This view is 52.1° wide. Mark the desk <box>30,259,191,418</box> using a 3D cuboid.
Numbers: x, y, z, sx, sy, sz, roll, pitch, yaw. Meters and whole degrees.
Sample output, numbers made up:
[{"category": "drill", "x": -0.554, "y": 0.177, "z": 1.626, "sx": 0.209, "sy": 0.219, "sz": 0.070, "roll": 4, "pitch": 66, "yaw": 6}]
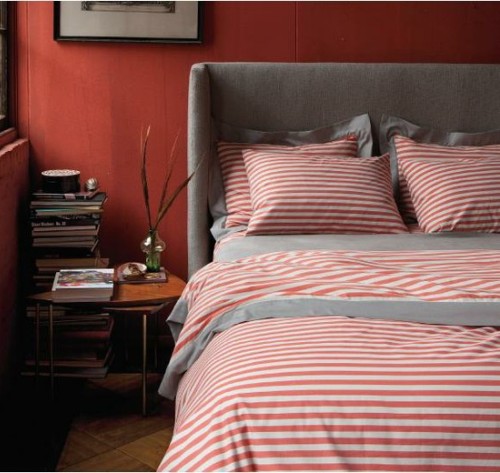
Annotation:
[{"category": "desk", "x": -0.580, "y": 0.356, "z": 2.293, "sx": 0.629, "sy": 0.379, "sz": 0.799, "roll": 0, "pitch": 6, "yaw": -7}]

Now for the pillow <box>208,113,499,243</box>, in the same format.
[{"category": "pillow", "x": 0.472, "y": -0.293, "z": 2.598, "sx": 1.298, "sy": 0.670, "sz": 0.436, "roll": 3, "pitch": 11, "yaw": -12}]

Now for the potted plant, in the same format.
[{"category": "potted plant", "x": -0.405, "y": -0.169, "z": 2.586, "sx": 0.313, "sy": 0.752, "sz": 0.576, "roll": 4, "pitch": 10, "yaw": -13}]
